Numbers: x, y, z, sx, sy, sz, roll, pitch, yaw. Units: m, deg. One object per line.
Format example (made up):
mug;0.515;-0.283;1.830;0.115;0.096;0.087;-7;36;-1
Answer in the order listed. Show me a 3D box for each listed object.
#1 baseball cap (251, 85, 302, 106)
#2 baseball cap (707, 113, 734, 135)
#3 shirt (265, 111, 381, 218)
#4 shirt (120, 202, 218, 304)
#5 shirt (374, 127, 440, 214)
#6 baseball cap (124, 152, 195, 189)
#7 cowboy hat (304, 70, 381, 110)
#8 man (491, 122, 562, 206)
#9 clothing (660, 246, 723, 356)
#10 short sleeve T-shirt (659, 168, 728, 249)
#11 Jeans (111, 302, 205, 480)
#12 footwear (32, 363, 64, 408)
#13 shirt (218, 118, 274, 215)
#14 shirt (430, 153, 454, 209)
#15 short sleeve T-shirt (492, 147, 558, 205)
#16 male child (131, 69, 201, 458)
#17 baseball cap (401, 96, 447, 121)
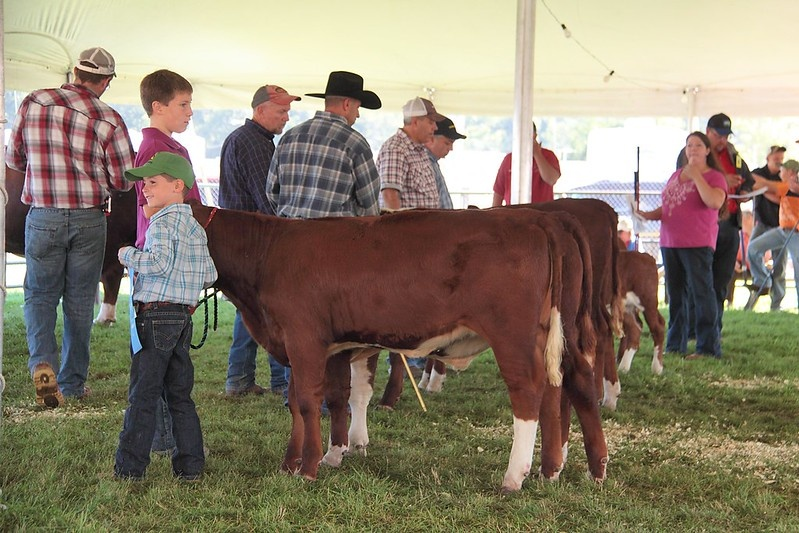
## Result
baseball cap;-1.401;-1.860;10.333;0.378;0.171;0.252;-3;15;4
baseball cap;4.314;-1.942;12.769;0.240;0.210;0.356;-1;19;-12
shirt;-0.693;-0.972;9.879;1.220;1.163;0.770;4;-1;34
shirt;-2.217;-0.088;8.946;0.704;0.986;1.094;1;-5;15
shirt;0.090;-1.049;10.634;0.500;0.889;1.030;-2;4;28
baseball cap;-2.232;-0.911;8.867;0.646;0.335;0.409;10;-10;-15
cowboy hat;-0.492;-1.801;9.704;0.541;0.221;0.504;10;3;-4
man;1.523;-1.279;11.917;0.908;1.070;0.970;9;14;33
clothing;3.752;0.304;12.608;0.587;1.500;0.374;5;-20;-8
short sleeve T-shirt;3.848;-0.787;12.515;0.614;1.145;0.893;9;0;-31
Jeans;-2.214;1.113;8.640;0.805;1.562;0.491;-2;12;-14
footwear;-3.710;1.251;9.891;0.226;0.496;0.209;-1;0;-20
shirt;-1.722;-1.108;10.624;0.518;1.078;1.220;11;12;-8
shirt;0.503;-0.977;11.456;0.386;0.823;0.212;-1;-3;-6
short sleeve T-shirt;1.595;-1.022;12.163;0.921;0.973;0.526;-3;3;17
male child;-2.510;-0.498;10.307;0.867;3.193;0.733;-3;26;-20
baseball cap;0.260;-1.807;10.869;0.378;0.237;0.273;-4;16;-8
